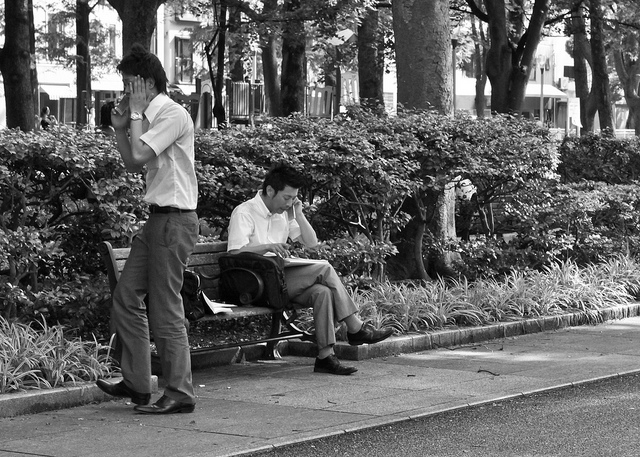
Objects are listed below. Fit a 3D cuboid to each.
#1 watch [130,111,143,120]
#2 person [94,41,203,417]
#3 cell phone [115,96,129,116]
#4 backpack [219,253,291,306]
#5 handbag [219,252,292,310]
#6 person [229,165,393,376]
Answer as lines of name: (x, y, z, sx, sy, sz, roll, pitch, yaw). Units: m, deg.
watch: (-1.484, -0.915, 7.124, 0.094, 0.062, 0.062, -1, 6, -13)
person: (-1.335, 0.055, 7.180, 0.729, 2.945, 0.476, 0, 5, -9)
cell phone: (-1.610, -0.997, 7.202, 0.029, 0.124, 0.128, 26, -41, -5)
backpack: (-0.697, 0.506, 8.667, 0.700, 0.583, 0.408, 0, -1, 28)
handbag: (-0.683, 0.400, 8.651, 0.634, 0.671, 0.524, 6, 34, 6)
person: (-0.173, 0.391, 8.795, 1.426, 2.036, 0.744, 1, 5, 2)
